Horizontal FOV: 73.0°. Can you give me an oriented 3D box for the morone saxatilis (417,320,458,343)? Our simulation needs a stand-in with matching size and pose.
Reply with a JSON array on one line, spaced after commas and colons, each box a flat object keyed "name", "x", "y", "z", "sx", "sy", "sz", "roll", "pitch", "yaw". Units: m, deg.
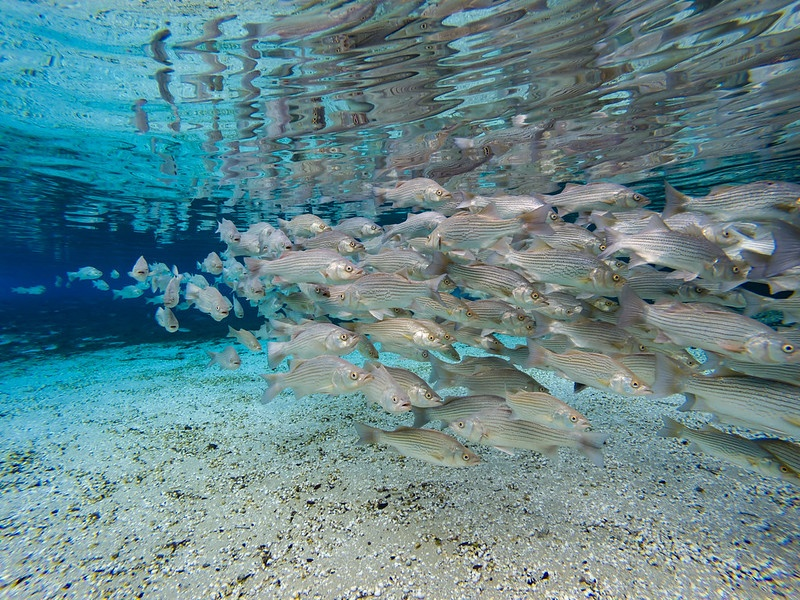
[{"name": "morone saxatilis", "x": 0.576, "y": 0.500, "z": 8.460, "sx": 0.720, "sy": 0.141, "sz": 0.277, "roll": 22, "pitch": 22, "yaw": 20}]
